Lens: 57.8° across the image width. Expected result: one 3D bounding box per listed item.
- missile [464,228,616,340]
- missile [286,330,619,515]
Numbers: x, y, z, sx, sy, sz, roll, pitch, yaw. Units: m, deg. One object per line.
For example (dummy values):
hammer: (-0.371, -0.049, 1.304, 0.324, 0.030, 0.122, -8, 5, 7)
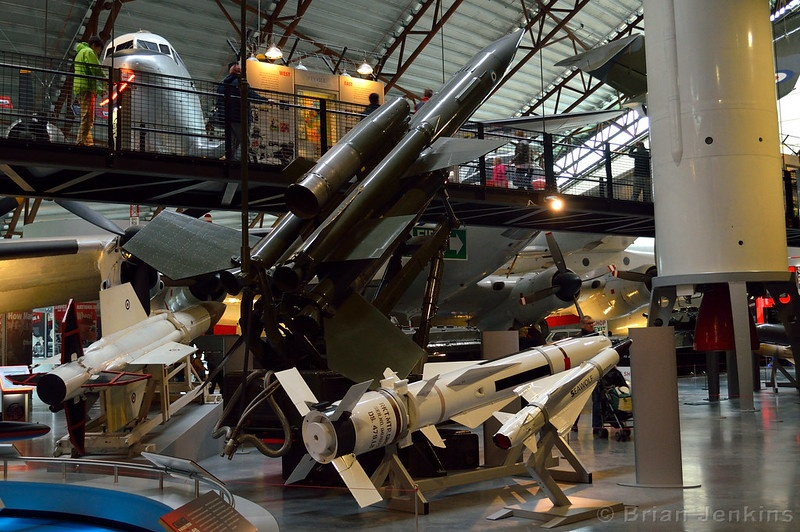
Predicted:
missile: (4.190, 0.735, 25.463, 4.903, 2.703, 6.793, -15, -6, 42)
missile: (0.925, 2.595, 11.480, 5.539, 2.539, 1.915, 0, -2, -35)
